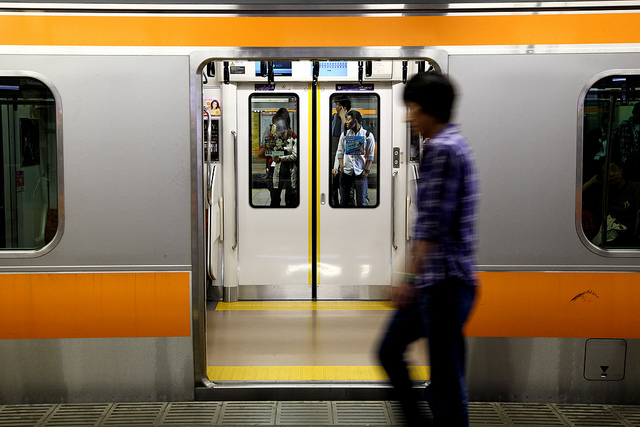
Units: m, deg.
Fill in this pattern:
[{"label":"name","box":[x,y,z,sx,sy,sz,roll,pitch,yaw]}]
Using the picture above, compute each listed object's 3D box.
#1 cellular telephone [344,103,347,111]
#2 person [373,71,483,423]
[{"label":"cellular telephone","box":[0.337,-1.452,7.538,0.039,0.073,0.039,-1,15,-3]},{"label":"person","box":[0.815,0.269,4.112,0.702,2.537,0.558,2,12,10]}]
